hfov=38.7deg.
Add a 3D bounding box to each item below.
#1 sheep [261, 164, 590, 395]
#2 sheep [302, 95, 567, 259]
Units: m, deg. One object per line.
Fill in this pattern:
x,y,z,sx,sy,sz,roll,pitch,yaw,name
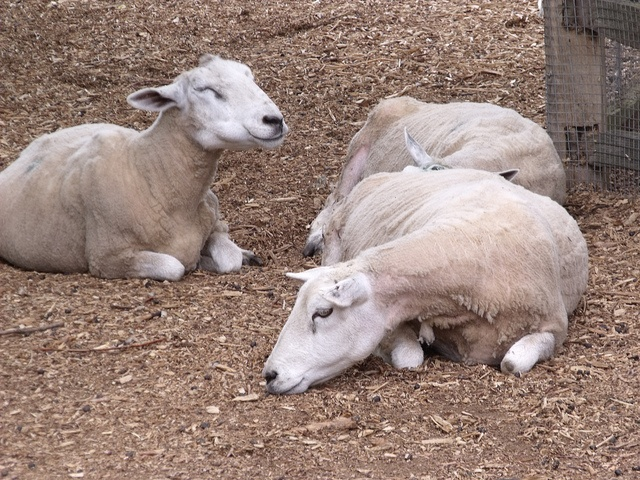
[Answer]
0.908,0.298,7.081,2.046,1.108,2.188,5,32,20,sheep
1.203,-0.702,9.099,2.557,1.345,1.454,6,33,-16,sheep
